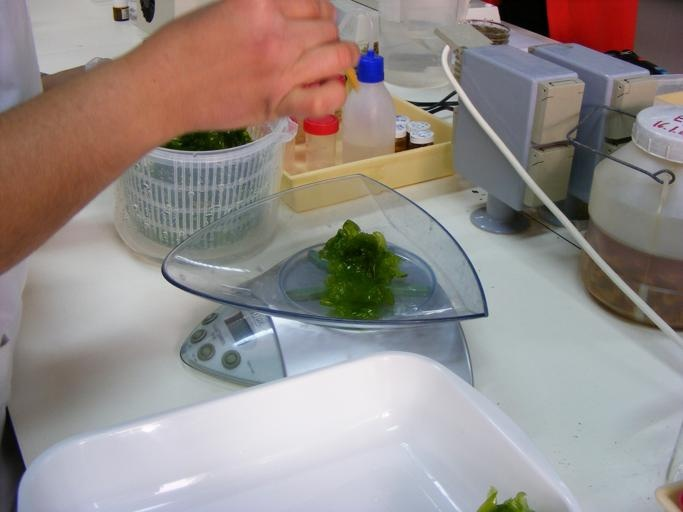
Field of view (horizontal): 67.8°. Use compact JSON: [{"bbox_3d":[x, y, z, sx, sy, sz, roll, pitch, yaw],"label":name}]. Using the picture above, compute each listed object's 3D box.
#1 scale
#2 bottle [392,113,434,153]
[{"bbox_3d":[-0.016,0.031,0.617,0.274,0.097,0.263,-19,51,-27],"label":"scale"},{"bbox_3d":[0.120,-0.223,0.934,0.045,0.085,0.087,-4,35,-5],"label":"bottle"}]
